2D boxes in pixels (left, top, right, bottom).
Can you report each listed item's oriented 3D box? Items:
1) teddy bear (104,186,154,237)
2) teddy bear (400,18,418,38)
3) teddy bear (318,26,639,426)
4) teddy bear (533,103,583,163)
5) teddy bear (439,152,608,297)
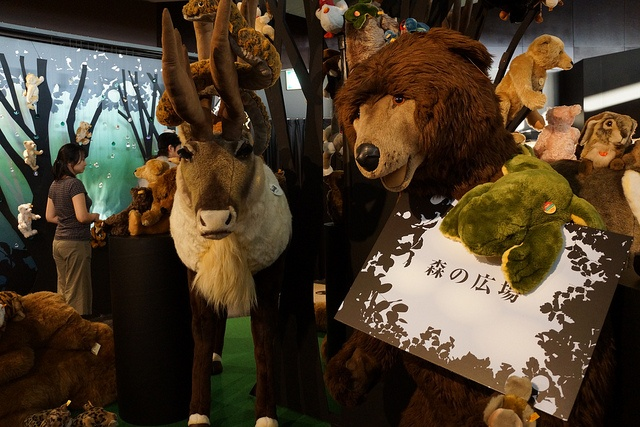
[{"bbox_3d":[-1.279,-0.052,3.311,0.359,0.387,0.240,-13,23,-32],"label":"teddy bear"},{"bbox_3d":[0.358,-0.754,1.950,0.048,0.041,0.097,3,39,8],"label":"teddy bear"},{"bbox_3d":[0.530,0.060,2.626,1.277,2.177,1.411,0,0,-22],"label":"teddy bear"},{"bbox_3d":[1.895,-0.618,3.850,0.341,0.462,0.253,10,32,30],"label":"teddy bear"},{"bbox_3d":[0.775,-0.028,1.833,0.584,0.162,0.487,-37,51,-26],"label":"teddy bear"}]
